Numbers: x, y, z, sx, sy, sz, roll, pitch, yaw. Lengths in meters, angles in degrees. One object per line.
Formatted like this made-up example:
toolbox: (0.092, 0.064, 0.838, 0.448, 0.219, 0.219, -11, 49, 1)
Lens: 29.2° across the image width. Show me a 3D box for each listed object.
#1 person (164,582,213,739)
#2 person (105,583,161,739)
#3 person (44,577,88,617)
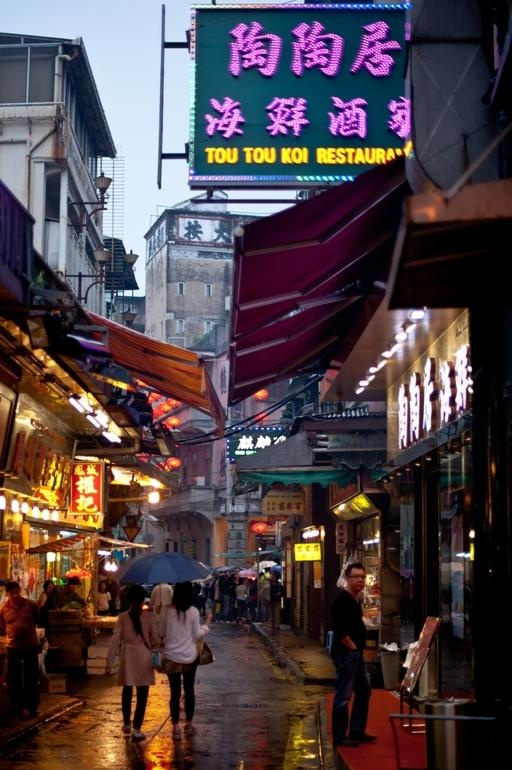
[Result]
person: (-0.758, 2.743, 9.987, 0.400, 1.472, 0.488, -10, -19, 37)
person: (-1.229, 2.760, 9.814, 0.510, 1.459, 0.770, 4, -15, -8)
person: (-3.310, 3.698, 17.154, 0.641, 0.357, 0.914, 3, -8, -9)
